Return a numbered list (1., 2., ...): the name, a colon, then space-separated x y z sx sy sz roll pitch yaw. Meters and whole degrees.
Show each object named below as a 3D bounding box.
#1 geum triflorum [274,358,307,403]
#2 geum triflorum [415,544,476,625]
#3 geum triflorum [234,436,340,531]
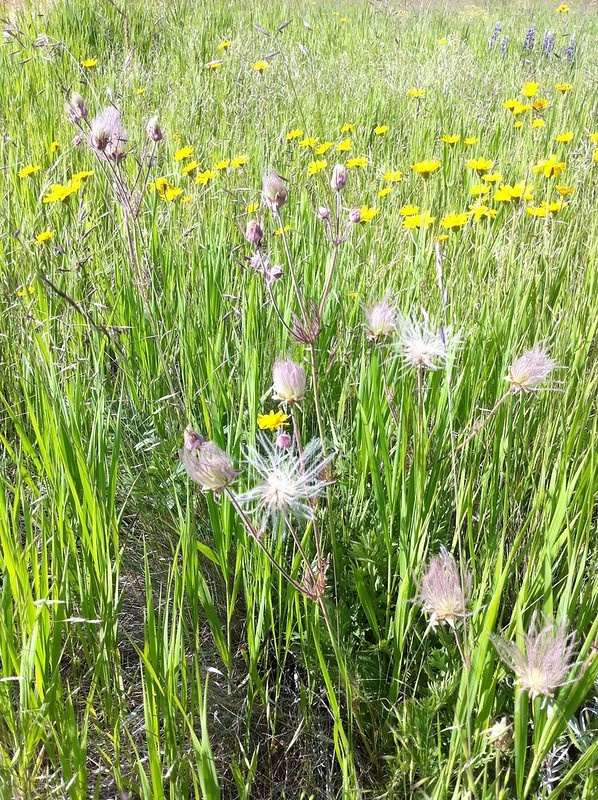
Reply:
1. geum triflorum: -0.011 -0.036 0.935 0.029 0.069 0.043 5 15 19
2. geum triflorum: 0.163 0.205 0.866 0.050 0.131 0.071 3 -6 -1
3. geum triflorum: -0.017 0.082 0.982 0.109 0.181 0.113 14 68 -9
